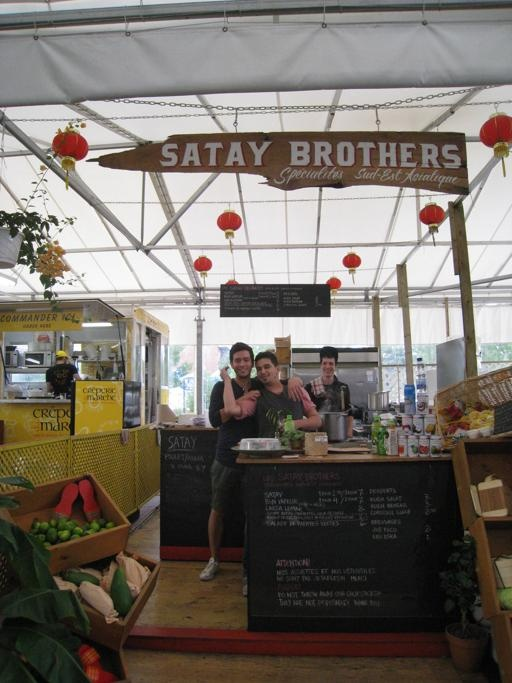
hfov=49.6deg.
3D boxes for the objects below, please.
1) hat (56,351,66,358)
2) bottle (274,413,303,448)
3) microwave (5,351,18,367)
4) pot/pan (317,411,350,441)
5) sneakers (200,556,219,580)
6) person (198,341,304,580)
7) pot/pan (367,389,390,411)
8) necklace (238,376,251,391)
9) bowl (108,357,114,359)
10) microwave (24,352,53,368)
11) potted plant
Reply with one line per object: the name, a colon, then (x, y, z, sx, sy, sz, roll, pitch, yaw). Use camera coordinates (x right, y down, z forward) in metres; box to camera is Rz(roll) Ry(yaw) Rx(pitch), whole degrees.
hat: (-2.700, 0.177, 7.579, 0.164, 0.083, 0.115, 5, 0, -1)
bottle: (0.201, 0.565, 3.436, 0.178, 0.187, 0.165, 2, -20, -11)
microwave: (-4.237, 0.295, 9.634, 0.255, 0.339, 0.239, 2, -8, -23)
pot/pan: (0.537, 0.583, 3.844, 0.202, 0.187, 0.213, 0, -8, 0)
sneakers: (-0.300, 1.491, 3.609, 0.067, 0.103, 0.163, 3, 15, 25)
person: (-0.176, 0.814, 3.726, 0.420, 1.552, 0.721, 0, 13, 11)
pot/pan: (1.332, 0.632, 5.918, 0.239, 0.203, 0.194, 0, -2, 29)
necklace: (-0.075, 0.285, 3.776, 0.076, 0.076, 0.097, -2, -9, 0)
bowl: (-2.493, 0.275, 9.601, 0.079, 0.051, 0.042, 2, -30, -12)
microwave: (-3.787, 0.322, 9.624, 0.479, 0.297, 0.259, -1, -7, -4)
potted plant: (0.996, 1.191, 2.656, 0.212, 0.575, 0.413, -1, 13, 8)
